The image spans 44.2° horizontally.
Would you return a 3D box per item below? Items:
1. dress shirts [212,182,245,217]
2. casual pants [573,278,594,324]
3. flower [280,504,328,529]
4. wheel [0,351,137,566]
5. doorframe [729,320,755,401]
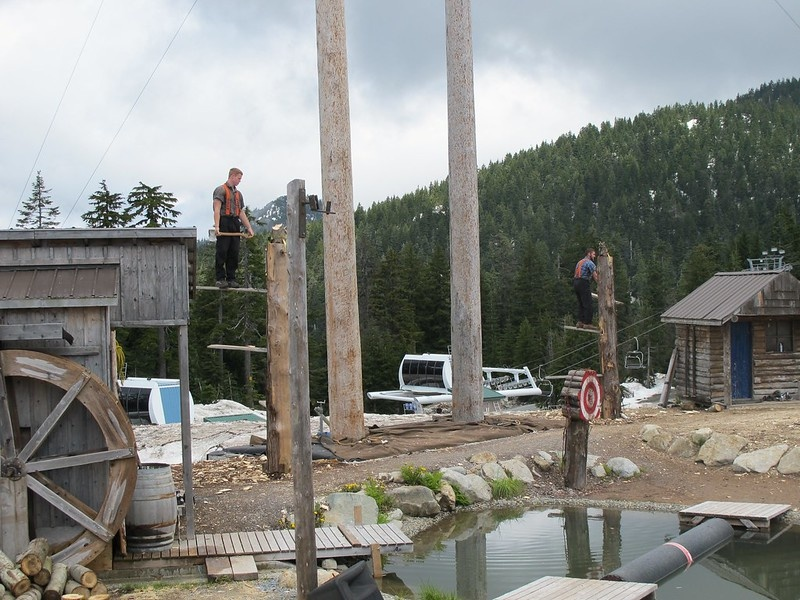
[{"bbox_3d":[-3.616,-2.143,20.917,0.684,0.716,0.262,0,-4,-43],"label":"dress shirts"},{"bbox_3d":[5.252,0.014,28.271,0.475,1.315,0.905,-2,-3,11],"label":"casual pants"},{"bbox_3d":[-1.793,3.952,18.062,0.626,0.467,0.677,2,-7,-24],"label":"flower"},{"bbox_3d":[-5.170,2.454,15.560,1.946,3.439,0.836,-1,-3,-17],"label":"wheel"},{"bbox_3d":[9.939,1.710,28.643,0.679,2.174,0.200,-1,-3,-21],"label":"doorframe"}]
